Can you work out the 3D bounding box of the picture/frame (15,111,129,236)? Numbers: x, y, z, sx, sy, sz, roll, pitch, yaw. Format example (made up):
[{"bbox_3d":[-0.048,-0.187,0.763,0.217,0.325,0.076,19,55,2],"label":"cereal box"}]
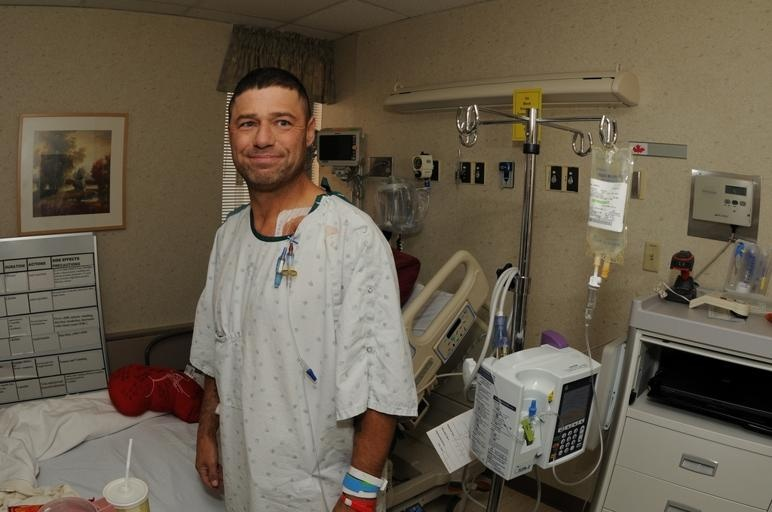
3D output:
[{"bbox_3d":[-2.176,-0.588,3.808,0.813,0.982,0.039,-4,12,-28],"label":"picture/frame"}]
